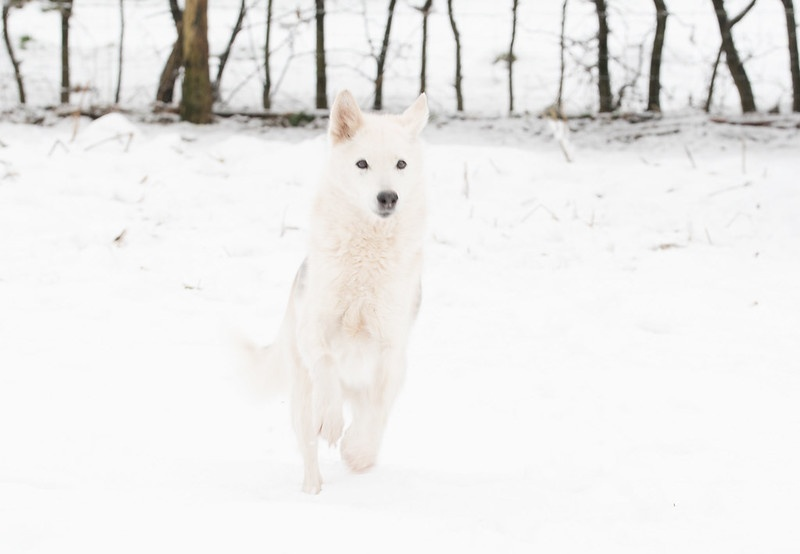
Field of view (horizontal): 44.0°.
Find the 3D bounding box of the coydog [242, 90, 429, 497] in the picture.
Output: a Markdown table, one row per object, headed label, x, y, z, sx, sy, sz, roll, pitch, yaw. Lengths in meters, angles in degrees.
| label | x | y | z | sx | sy | sz | roll | pitch | yaw |
| --- | --- | --- | --- | --- | --- | --- | --- | --- | --- |
| coydog | -0.462 | 0.134 | 10.485 | 1.371 | 4.187 | 0.776 | 3 | 6 | -4 |
